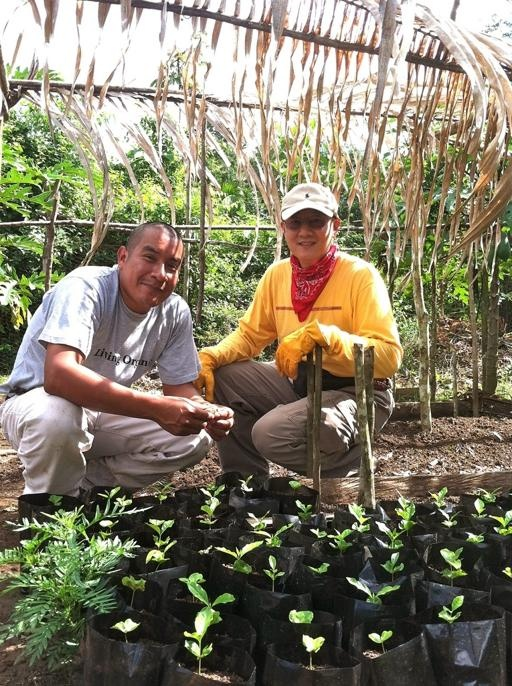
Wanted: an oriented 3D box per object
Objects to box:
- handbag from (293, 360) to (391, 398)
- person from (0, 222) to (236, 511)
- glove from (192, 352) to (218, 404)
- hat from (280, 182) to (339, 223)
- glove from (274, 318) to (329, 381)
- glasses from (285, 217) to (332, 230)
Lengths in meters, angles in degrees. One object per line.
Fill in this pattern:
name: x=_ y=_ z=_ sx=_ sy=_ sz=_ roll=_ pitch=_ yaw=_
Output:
handbag: x=0.334 y=0.196 z=2.343 sx=0.262 sy=0.188 sz=0.198 roll=-2 pitch=-18 yaw=-7
person: x=-0.483 y=0.074 z=1.932 sx=0.605 sy=0.934 sz=0.696 roll=-5 pitch=-9 yaw=44
glove: x=-0.256 y=0.145 z=2.398 sx=0.068 sy=0.178 sz=0.138 roll=0 pitch=-34 yaw=-20
hat: x=0.225 y=-0.585 z=2.315 sx=0.239 sy=0.149 sz=0.177 roll=1 pitch=-6 yaw=1
glove: x=0.163 y=0.037 z=2.103 sx=0.158 sy=0.194 sz=0.298 roll=2 pitch=-6 yaw=-7
glasses: x=0.209 y=-0.493 z=2.302 sx=0.080 sy=0.025 sz=0.098 roll=0 pitch=-2 yaw=-12
